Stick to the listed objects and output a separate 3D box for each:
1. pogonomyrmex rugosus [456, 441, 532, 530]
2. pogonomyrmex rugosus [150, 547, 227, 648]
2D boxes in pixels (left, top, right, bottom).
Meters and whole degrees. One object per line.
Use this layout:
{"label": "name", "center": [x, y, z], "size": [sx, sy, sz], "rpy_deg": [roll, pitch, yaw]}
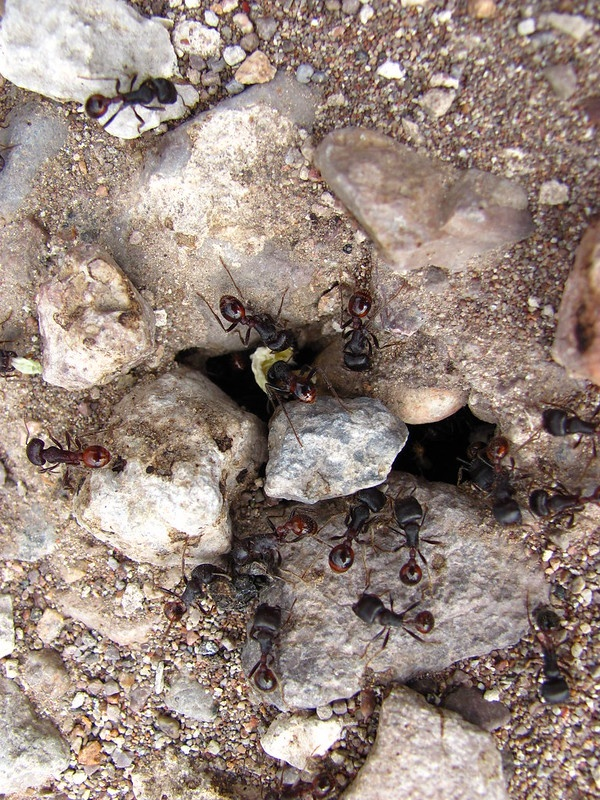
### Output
{"label": "pogonomyrmex rugosus", "center": [1.398, 0.605, 5.546], "size": [0.216, 0.429, 0.528], "rpy_deg": [-13, 91, -28]}
{"label": "pogonomyrmex rugosus", "center": [-0.807, 1.405, 5.505], "size": [0.407, 0.177, 0.580], "rpy_deg": [40, 104, 1]}
